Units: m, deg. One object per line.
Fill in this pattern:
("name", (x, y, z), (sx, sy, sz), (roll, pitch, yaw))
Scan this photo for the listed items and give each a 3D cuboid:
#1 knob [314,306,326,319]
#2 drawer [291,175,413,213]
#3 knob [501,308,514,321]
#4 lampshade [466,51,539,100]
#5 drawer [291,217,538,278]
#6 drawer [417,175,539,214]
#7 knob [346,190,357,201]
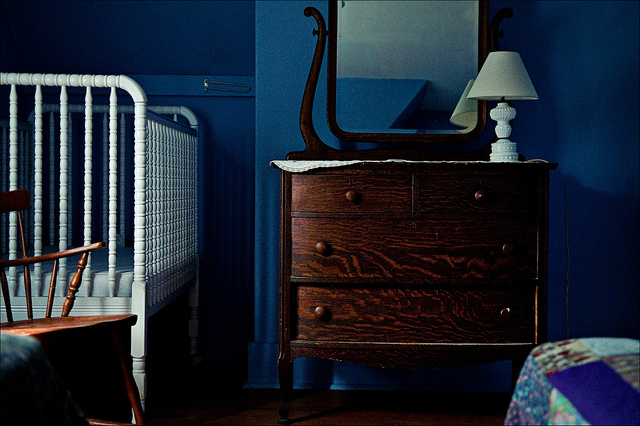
("knob", (0.004, 0.558, 3.748), (0.064, 0.064, 0.029), (-1, 13, -6))
("drawer", (0.183, -0.113, 3.754), (0.672, 0.198, 0.078), (0, 13, 0))
("knob", (1.060, 0.567, 3.735), (0.075, 0.068, 0.022), (-2, 13, -9))
("lampshade", (1.120, -0.830, 4.034), (0.471, 0.266, 0.424), (3, 4, 10))
("drawer", (0.560, 0.203, 4.468), (1.752, 0.332, 1.785), (0, -1, -15))
("drawer", (0.894, -0.108, 3.732), (0.670, 0.199, 0.067), (0, 13, -2))
("knob", (0.181, -0.098, 3.735), (0.060, 0.056, 0.020), (0, 13, 1))
